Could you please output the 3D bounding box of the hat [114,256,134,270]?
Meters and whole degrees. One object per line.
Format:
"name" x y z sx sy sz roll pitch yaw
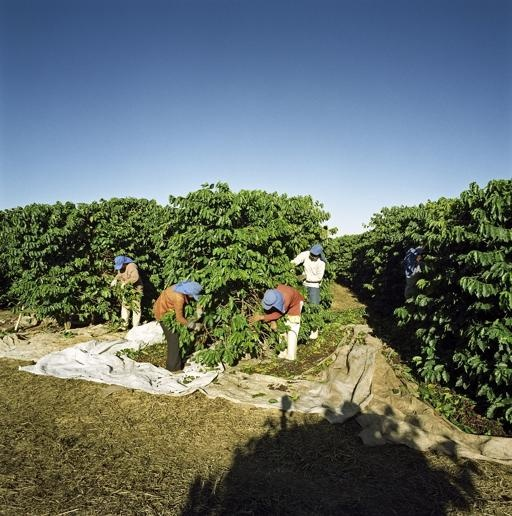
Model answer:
"hat" -3.215 0.100 9.440 0.330 0.215 0.403 -3 27 3

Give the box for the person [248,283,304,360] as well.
"person" 0.409 1.229 7.084 0.590 1.497 1.249 9 6 25

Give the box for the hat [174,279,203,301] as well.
"hat" -1.116 0.501 6.412 0.400 0.118 0.302 20 30 14

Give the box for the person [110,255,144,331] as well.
"person" -3.234 0.895 9.835 0.758 1.923 0.956 5 6 -16

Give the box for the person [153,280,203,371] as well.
"person" -1.307 1.198 6.734 0.904 0.544 1.540 -7 -37 -18

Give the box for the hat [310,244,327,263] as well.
"hat" 1.438 -0.116 9.102 0.316 0.409 0.665 8 5 14

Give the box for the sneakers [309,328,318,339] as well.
"sneakers" 1.345 1.781 9.117 0.182 0.247 0.254 2 -24 1

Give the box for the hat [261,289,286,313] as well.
"hat" 0.304 0.743 6.648 0.369 0.410 0.397 7 5 12
